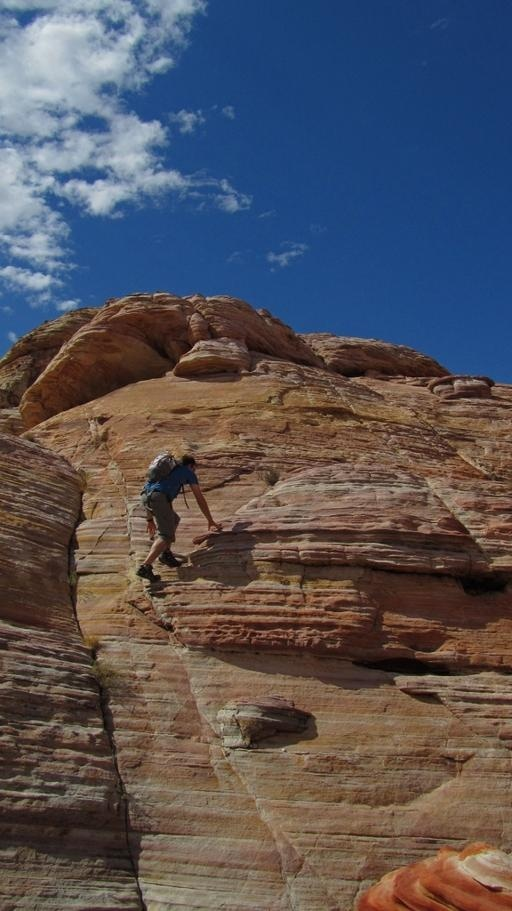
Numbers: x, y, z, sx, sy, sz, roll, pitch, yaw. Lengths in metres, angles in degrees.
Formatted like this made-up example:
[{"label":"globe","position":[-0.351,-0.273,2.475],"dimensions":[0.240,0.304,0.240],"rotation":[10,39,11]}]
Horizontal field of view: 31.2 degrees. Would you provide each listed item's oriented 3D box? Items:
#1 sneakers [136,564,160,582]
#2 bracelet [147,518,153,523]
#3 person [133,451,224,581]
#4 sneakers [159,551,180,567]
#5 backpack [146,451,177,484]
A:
[{"label":"sneakers","position":[-1.366,1.471,11.479],"dimensions":[0.286,0.218,0.195],"rotation":[-3,-1,-8]},{"label":"bracelet","position":[-1.395,0.845,12.078],"dimensions":[0.056,0.031,0.089],"rotation":[5,-20,-12]},{"label":"person","position":[-1.120,0.769,12.064],"dimensions":[1.283,1.549,1.013],"rotation":[-3,-1,-25]},{"label":"sneakers","position":[-1.092,1.320,11.749],"dimensions":[0.287,0.175,0.151],"rotation":[13,18,-9]},{"label":"backpack","position":[-1.261,0.132,12.168],"dimensions":[0.321,0.435,0.431],"rotation":[26,15,15]}]
